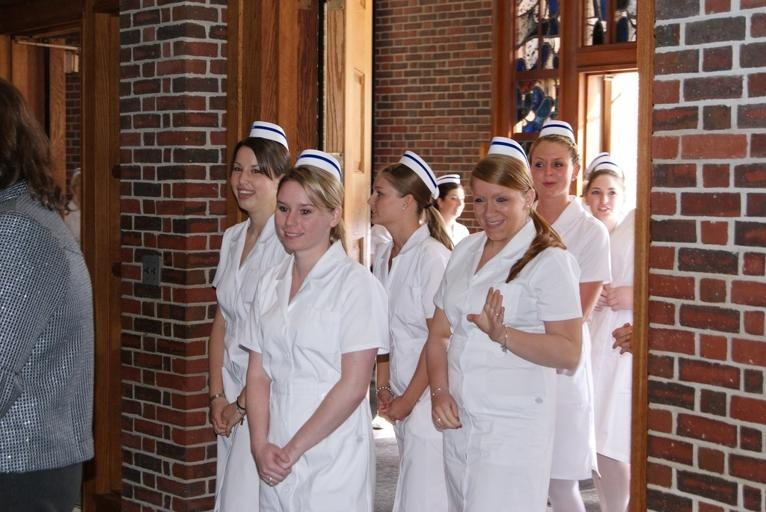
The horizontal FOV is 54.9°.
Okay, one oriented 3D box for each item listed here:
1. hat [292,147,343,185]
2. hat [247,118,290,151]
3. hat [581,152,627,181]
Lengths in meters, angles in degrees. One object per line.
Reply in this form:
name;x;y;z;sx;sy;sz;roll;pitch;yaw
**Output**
hat;-0.273;-0.404;3.135;0.172;0.106;0.138;27;-26;-35
hat;-0.588;-0.623;3.740;0.164;0.101;0.173;-4;-12;33
hat;1.407;-0.584;4.710;0.176;0.132;0.251;1;-13;10
